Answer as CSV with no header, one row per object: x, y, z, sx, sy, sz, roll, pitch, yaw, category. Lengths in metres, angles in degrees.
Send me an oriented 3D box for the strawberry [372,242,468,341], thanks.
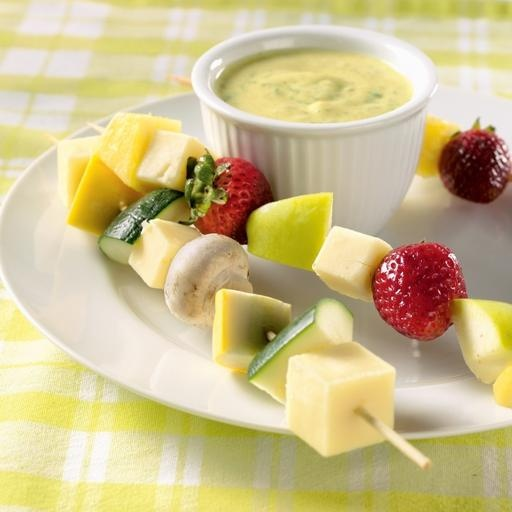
0.296,0.060,1.058,0.160,0.151,0.147,29,63,17,strawberry

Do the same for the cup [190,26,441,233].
0.138,-0.246,1.438,0.579,0.396,0.541,-2,41,2,cup
